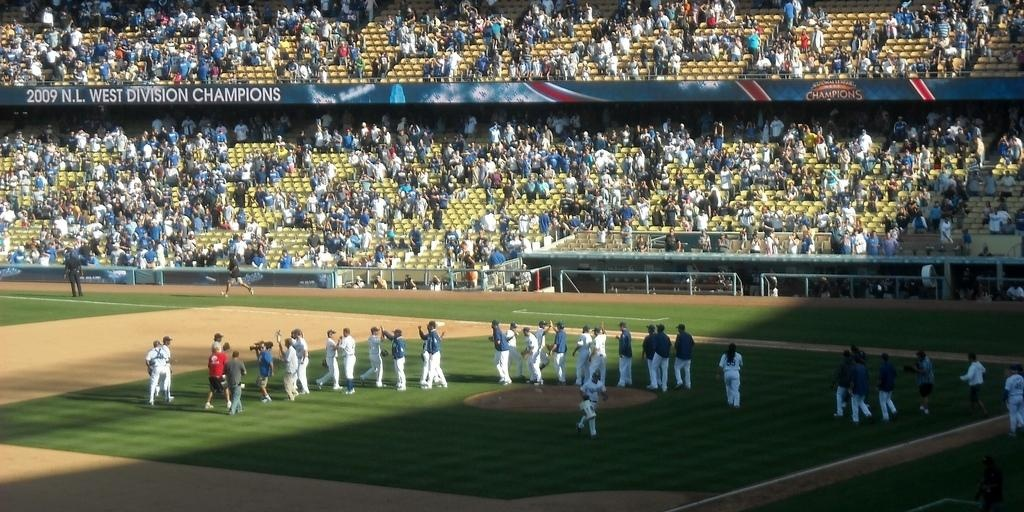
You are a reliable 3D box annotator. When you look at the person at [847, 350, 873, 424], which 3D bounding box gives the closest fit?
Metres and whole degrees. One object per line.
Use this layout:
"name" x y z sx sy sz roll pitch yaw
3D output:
"person" 18.921 7.184 94.754 1.079 3.772 1.084 -3 0 10
